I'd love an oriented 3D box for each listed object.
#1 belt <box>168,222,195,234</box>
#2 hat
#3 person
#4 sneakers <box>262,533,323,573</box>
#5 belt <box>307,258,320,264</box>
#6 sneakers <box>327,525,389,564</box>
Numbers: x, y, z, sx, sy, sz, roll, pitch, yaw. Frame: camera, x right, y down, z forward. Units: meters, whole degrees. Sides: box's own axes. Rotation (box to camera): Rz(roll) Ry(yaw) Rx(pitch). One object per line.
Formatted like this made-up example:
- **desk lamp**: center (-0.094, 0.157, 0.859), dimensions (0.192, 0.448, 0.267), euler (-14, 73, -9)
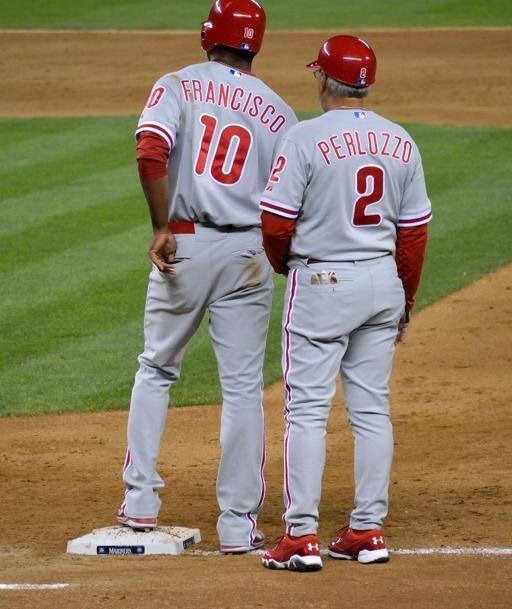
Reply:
- **belt**: center (-0.326, -0.349, 6.302), dimensions (0.082, 0.057, 0.019), euler (0, 5, 6)
- **hat**: center (0.375, -1.065, 6.152), dimensions (0.267, 0.210, 0.221), euler (4, 16, 1)
- **person**: center (0.341, -0.009, 6.096), dimensions (0.716, 2.207, 0.805), euler (5, 16, 6)
- **sneakers**: center (0.167, 1.062, 6.034), dimensions (0.112, 0.144, 0.286), euler (6, -7, -45)
- **belt**: center (0.243, -0.194, 6.108), dimensions (0.024, 0.018, 0.025), euler (3, 12, 28)
- **sneakers**: center (0.447, 1.048, 6.189), dimensions (0.111, 0.131, 0.276), euler (1, 0, -40)
